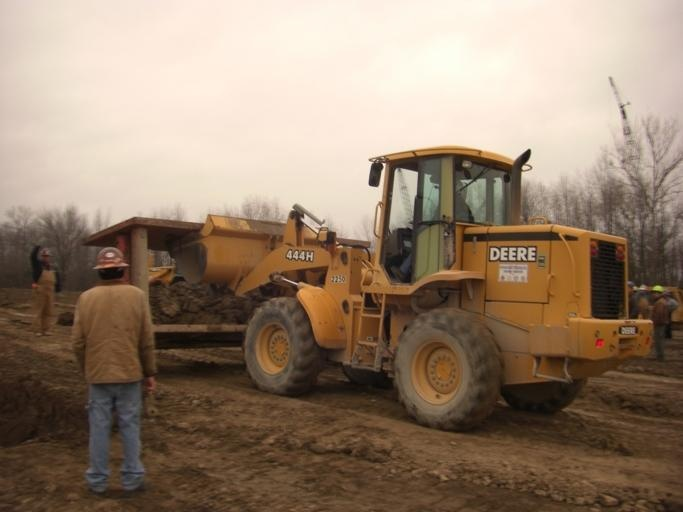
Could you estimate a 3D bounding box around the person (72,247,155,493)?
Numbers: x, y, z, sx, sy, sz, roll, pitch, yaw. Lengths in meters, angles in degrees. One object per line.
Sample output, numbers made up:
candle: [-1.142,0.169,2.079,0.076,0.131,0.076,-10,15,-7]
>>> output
person: [-2.013,0.991,4.657,0.689,2.272,0.370,2,0,-20]

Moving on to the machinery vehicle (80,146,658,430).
machinery vehicle: [-0.095,0.441,7.927,7.439,3.177,4.227,4,0,44]

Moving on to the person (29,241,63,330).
person: [-6.771,0.792,12.043,0.589,2.225,1.237,2,0,-30]

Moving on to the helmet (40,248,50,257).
helmet: [-6.541,-0.075,11.636,0.165,0.176,0.324,3,-1,-32]
